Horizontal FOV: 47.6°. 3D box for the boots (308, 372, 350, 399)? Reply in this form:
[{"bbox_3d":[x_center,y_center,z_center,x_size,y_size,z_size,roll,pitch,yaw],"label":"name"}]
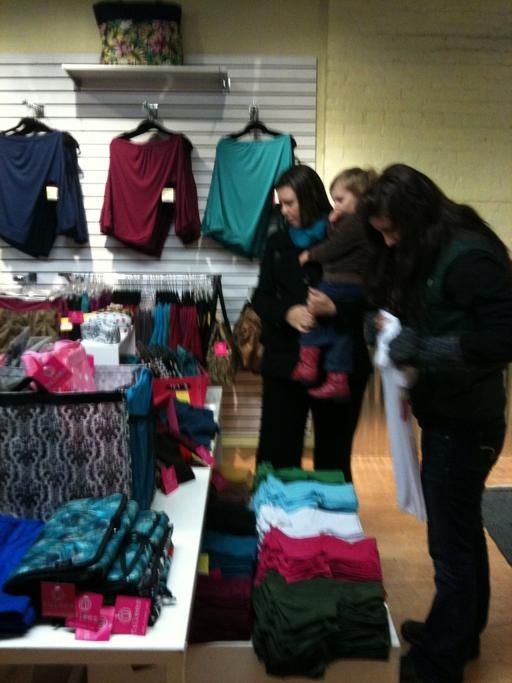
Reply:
[{"bbox_3d":[0.131,0.072,1.031,0.077,0.060,0.029,5,18,18],"label":"boots"}]
